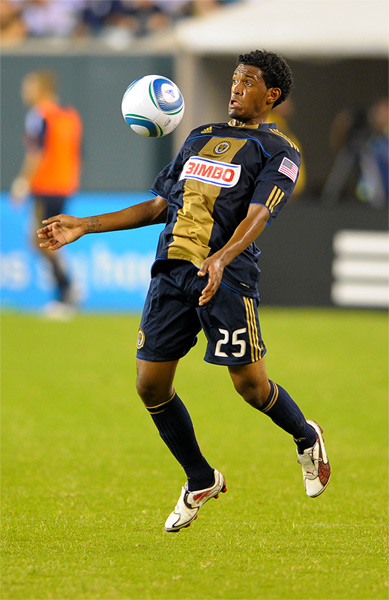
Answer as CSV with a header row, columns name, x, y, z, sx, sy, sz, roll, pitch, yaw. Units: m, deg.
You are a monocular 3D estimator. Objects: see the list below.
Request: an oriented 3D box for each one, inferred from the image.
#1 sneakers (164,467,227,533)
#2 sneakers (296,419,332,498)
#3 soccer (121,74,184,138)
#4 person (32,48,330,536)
name,x,y,z,sx,sy,sz,roll,pitch,yaw
sneakers,0.010,0.839,2.866,0.097,0.285,0.134,31,-20,45
sneakers,0.512,0.668,2.953,0.129,0.328,0.155,-6,-2,36
soccer,-0.173,-0.800,2.821,0.270,0.269,0.274,22,30,36
person,0.060,-0.012,2.765,0.744,1.895,0.867,9,11,40
